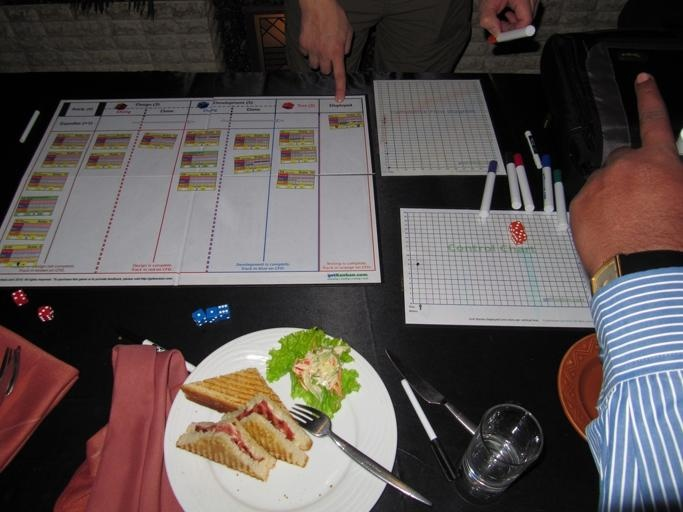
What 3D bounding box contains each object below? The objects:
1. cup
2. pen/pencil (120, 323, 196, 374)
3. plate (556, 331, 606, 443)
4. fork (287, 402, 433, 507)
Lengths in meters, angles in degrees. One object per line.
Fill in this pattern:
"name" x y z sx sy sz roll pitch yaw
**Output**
"cup" 0.410 0.522 1.273 0.234 0.189 0.171 -29 61 -20
"pen/pencil" -0.548 0.284 1.436 0.214 0.026 0.026 27 57 21
"plate" 0.680 0.360 1.371 0.220 0.031 0.226 -13 66 3
"fork" 0.036 0.544 1.289 0.430 0.022 0.057 33 59 20
